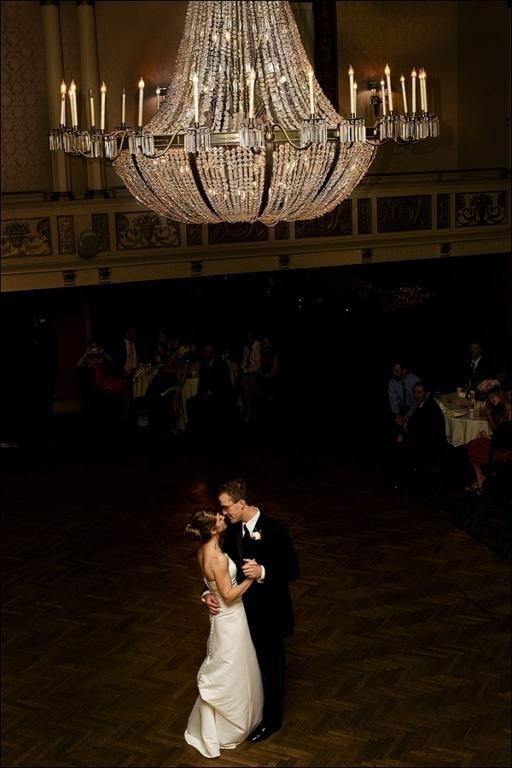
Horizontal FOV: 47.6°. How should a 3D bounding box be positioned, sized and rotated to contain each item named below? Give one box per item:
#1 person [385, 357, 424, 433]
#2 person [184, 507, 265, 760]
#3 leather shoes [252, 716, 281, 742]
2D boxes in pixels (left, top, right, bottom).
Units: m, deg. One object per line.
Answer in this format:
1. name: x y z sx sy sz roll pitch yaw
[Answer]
1. person: 1.634 0.148 6.455 0.338 0.730 0.362 1 8 19
2. person: -0.152 1.124 2.643 0.387 1.211 0.302 -3 8 -8
3. leather shoes: 0.046 1.667 2.830 0.153 0.109 0.051 5 1 -34
